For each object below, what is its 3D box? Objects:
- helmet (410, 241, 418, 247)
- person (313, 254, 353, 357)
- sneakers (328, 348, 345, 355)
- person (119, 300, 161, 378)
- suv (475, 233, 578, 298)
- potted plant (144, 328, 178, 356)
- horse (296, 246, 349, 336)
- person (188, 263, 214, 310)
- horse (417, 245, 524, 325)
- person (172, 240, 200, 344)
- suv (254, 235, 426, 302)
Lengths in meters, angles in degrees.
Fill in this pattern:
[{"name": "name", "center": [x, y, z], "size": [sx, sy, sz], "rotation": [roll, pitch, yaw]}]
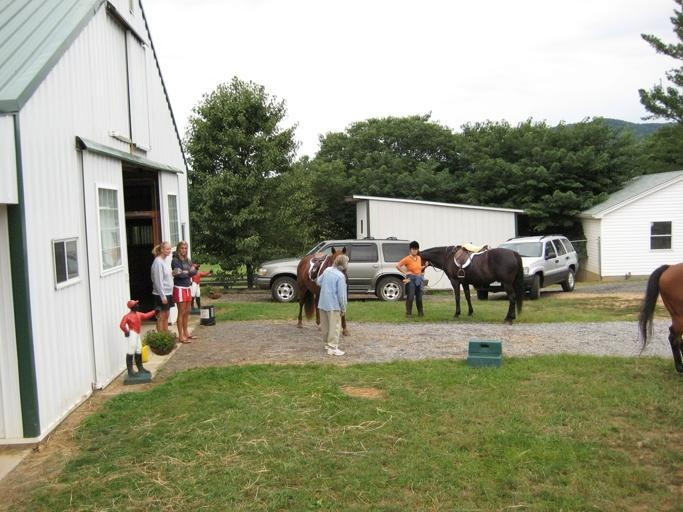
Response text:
[{"name": "helmet", "center": [1.767, -0.243, 14.898], "size": [0.174, 0.207, 0.230], "rotation": [1, -5, 2]}, {"name": "person", "center": [-0.174, 0.922, 11.043], "size": [0.516, 1.841, 0.517], "rotation": [-1, 14, -3]}, {"name": "sneakers", "center": [-0.118, 1.745, 11.087], "size": [0.233, 0.111, 0.131], "rotation": [1, 2, 4]}, {"name": "person", "center": [-3.456, 1.311, 10.251], "size": [0.520, 1.355, 1.416], "rotation": [-5, 15, -20]}, {"name": "suv", "center": [6.532, 0.257, 20.441], "size": [2.001, 1.633, 3.696], "rotation": [-2, -1, 39]}, {"name": "potted plant", "center": [-3.088, 1.489, 10.487], "size": [0.413, 0.318, 0.428], "rotation": [0, -4, 1]}, {"name": "horse", "center": [-0.406, 0.710, 12.811], "size": [0.547, 1.720, 2.351], "rotation": [9, -9, -17]}, {"name": "person", "center": [-3.971, 0.930, 17.193], "size": [0.399, 1.371, 1.175], "rotation": [-1, -1, 22]}, {"name": "horse", "center": [3.041, 0.703, 15.058], "size": [2.779, 1.874, 0.686], "rotation": [0, -3, 26]}, {"name": "person", "center": [-3.092, 0.715, 11.983], "size": [0.448, 2.040, 0.743], "rotation": [-4, 14, -16]}, {"name": "suv", "center": [-0.288, 0.460, 19.796], "size": [4.254, 1.944, 2.136], "rotation": [2, 0, -1]}]
